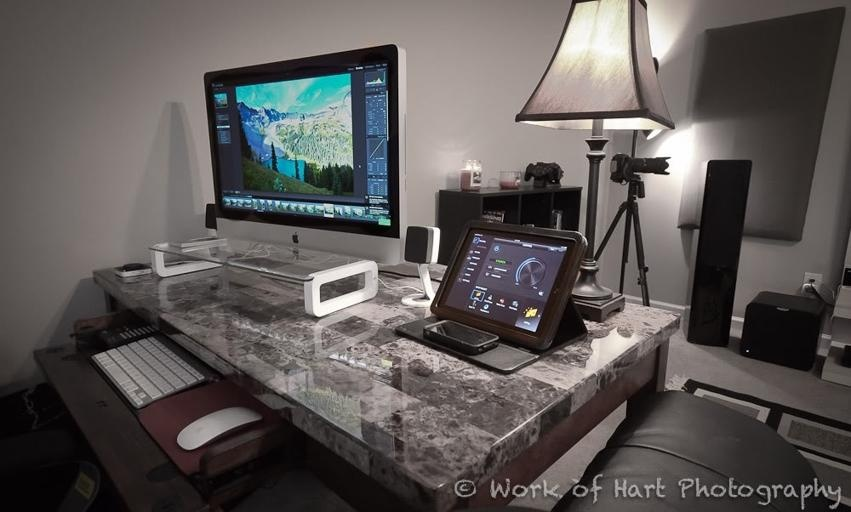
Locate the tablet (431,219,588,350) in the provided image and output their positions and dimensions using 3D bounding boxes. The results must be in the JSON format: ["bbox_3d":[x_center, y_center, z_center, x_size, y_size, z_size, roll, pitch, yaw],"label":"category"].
[{"bbox_3d":[0.293,0.080,1.879,0.503,0.333,0.306,13,27,41],"label":"tablet"}]

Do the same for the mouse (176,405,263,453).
[{"bbox_3d":[-0.697,0.586,1.770,0.274,0.061,0.121,-11,22,-37],"label":"mouse"}]

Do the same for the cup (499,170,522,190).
[{"bbox_3d":[0.623,-0.554,3.789,0.153,0.111,0.153,0,13,0],"label":"cup"}]

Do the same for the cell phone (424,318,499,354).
[{"bbox_3d":[0.122,0.265,1.799,0.198,0.030,0.114,15,21,38],"label":"cell phone"}]

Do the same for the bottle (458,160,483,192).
[{"bbox_3d":[0.319,-0.569,3.621,0.143,0.198,0.222,2,14,1],"label":"bottle"}]

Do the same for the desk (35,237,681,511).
[{"bbox_3d":[-0.162,0.428,1.995,1.950,0.448,0.942,8,15,24],"label":"desk"}]

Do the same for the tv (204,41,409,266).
[{"bbox_3d":[-0.493,-0.391,2.142,1.106,0.753,0.145,7,19,22],"label":"tv"}]

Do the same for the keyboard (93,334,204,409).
[{"bbox_3d":[-1.081,0.449,1.978,0.228,0.041,0.367,-23,36,-39],"label":"keyboard"}]

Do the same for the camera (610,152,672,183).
[{"bbox_3d":[1.282,-0.543,3.128,0.486,0.199,0.275,8,10,33],"label":"camera"}]

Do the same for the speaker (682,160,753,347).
[{"bbox_3d":[2.083,0.001,3.644,0.325,1.343,0.149,9,16,24],"label":"speaker"}]
